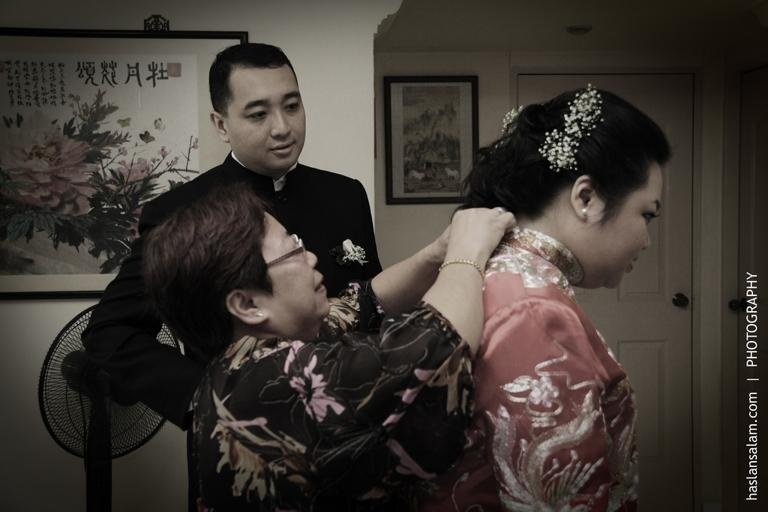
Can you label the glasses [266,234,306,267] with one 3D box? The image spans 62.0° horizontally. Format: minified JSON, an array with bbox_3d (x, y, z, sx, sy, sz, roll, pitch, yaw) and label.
[{"bbox_3d":[-0.298,0.003,1.974,0.098,0.031,0.097,-33,15,-2],"label":"glasses"}]
